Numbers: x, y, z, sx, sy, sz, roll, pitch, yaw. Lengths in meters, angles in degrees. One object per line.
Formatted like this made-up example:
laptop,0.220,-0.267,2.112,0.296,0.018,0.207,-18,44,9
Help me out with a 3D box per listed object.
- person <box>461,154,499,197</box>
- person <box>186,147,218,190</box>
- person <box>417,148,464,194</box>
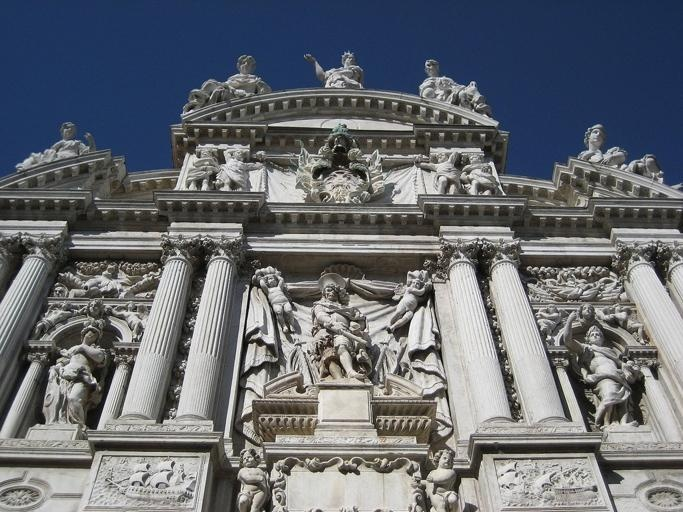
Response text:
person,4.329,-2.467,22.372,0.977,0.430,2.283,-7,-37,18
person,-4.258,-2.871,22.325,0.824,1.842,0.482,10,-15,-21
person,3.055,-2.527,22.357,1.370,2.342,0.720,5,-51,4
